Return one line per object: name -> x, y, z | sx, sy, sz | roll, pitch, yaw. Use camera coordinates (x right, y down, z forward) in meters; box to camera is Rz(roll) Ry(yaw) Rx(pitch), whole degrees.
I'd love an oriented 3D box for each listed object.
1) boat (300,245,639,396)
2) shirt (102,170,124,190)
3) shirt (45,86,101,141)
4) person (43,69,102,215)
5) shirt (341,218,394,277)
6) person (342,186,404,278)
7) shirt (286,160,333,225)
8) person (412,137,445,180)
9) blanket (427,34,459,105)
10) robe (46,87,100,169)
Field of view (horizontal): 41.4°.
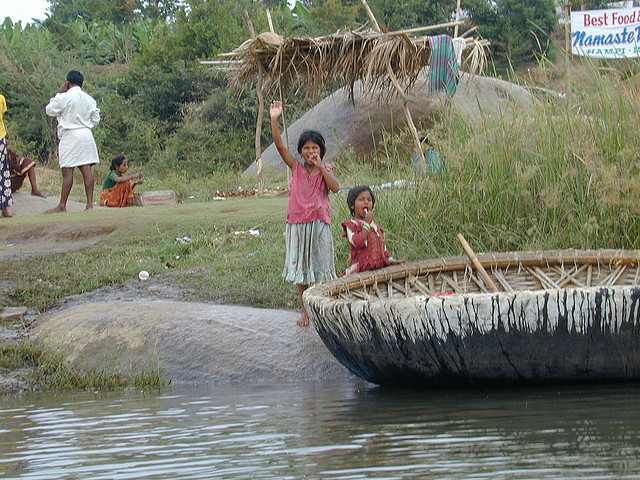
boat -> 1.159, 0.524, 6.022 | 2.449, 0.847, 1.543 | -7, 6, 3
shirt -> -3.111, -0.953, 12.764 | 0.247, 0.377, 0.275 | -11, 43, -36
shirt -> -3.547, -1.858, 12.149 | 0.689, 0.703, 0.362 | -8, 7, -20
person -> -3.544, -1.420, 12.121 | 0.727, 1.993, 1.202 | -6, 6, -4
shirt -> 0.383, 0.069, 6.713 | 0.419, 0.479, 0.358 | 0, -10, -40
person -> 0.360, -0.054, 6.759 | 0.481, 0.762, 0.422 | 0, -10, -41
shirt -> -0.072, -0.385, 6.901 | 0.365, 0.572, 0.320 | 6, -12, -17
person -> 1.007, -0.767, 7.920 | 0.272, 0.379, 0.998 | -5, 6, 6
blanket -> 1.277, -1.782, 8.752 | 0.309, 0.126, 0.852 | 1, -40, 9
robe -> -3.604, -1.391, 12.352 | 0.696, 1.885, 0.655 | 0, 0, -23
